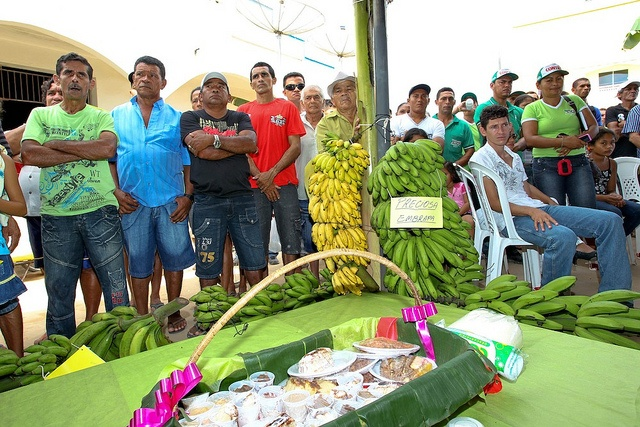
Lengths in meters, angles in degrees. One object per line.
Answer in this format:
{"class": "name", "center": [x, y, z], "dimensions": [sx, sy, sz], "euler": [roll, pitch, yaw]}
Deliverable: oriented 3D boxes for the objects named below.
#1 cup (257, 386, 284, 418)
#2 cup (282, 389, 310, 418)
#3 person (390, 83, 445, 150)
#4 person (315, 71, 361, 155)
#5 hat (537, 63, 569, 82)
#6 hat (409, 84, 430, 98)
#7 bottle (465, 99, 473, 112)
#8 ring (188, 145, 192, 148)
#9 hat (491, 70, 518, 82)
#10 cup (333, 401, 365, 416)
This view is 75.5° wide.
{"class": "cup", "center": [-0.243, 0.950, 2.064], "dimensions": [0.119, 0.116, 0.118], "euler": [-1, 15, 0]}
{"class": "cup", "center": [-0.119, 0.953, 2.053], "dimensions": [0.100, 0.073, 0.100], "euler": [1, 8, 0]}
{"class": "person", "center": [1.356, -1.306, 5.828], "dimensions": [0.814, 1.092, 0.620], "euler": [2, 7, 3]}
{"class": "person", "center": [0.275, -1.112, 5.296], "dimensions": [0.674, 1.427, 0.440], "euler": [3, -6, -16]}
{"class": "hat", "center": [2.765, -1.719, 4.957], "dimensions": [0.307, 0.186, 0.264], "euler": [-2, 2, 27]}
{"class": "hat", "center": [1.376, -1.740, 5.741], "dimensions": [0.285, 0.130, 0.303], "euler": [-3, 2, 13]}
{"class": "bottle", "center": [2.730, -2.039, 7.672], "dimensions": [0.161, 0.175, 0.193], "euler": [-1, -6, -7]}
{"class": "ring", "center": [-1.281, -0.673, 4.090], "dimensions": [0.010, 0.032, 0.032], "euler": [-1, -38, -45]}
{"class": "hat", "center": [2.623, -2.013, 5.997], "dimensions": [0.202, 0.146, 0.301], "euler": [-1, 6, -13]}
{"class": "cup", "center": [0.132, 0.949, 1.997], "dimensions": [0.145, 0.040, 0.090], "euler": [-3, 2, 4]}
